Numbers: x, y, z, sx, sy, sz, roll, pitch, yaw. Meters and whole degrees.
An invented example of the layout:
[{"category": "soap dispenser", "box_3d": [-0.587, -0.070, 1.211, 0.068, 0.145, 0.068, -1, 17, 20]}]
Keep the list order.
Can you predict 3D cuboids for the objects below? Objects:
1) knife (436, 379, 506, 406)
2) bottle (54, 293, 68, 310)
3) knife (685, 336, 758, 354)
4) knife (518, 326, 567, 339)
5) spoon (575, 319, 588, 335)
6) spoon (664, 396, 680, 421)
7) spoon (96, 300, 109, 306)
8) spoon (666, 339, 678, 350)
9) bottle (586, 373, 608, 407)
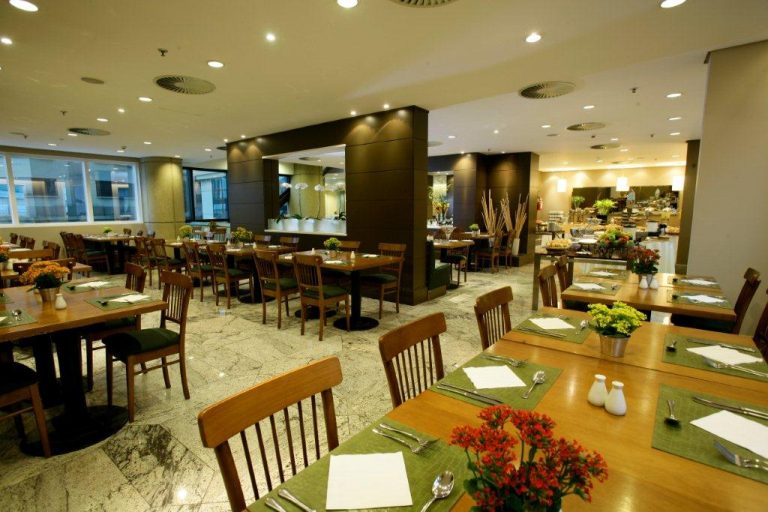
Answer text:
[{"category": "knife", "box_3d": [0.508, 0.855, 2.890, 0.483, 0.021, 0.123, 7, 16, 29]}, {"category": "bottle", "box_3d": [-2.717, 0.401, 3.984, 0.130, 0.127, 0.124, -4, -7, -27]}, {"category": "knife", "box_3d": [2.355, 0.630, 3.287, 0.454, 0.059, 0.156, 0, 7, 12]}, {"category": "knife", "box_3d": [1.171, 0.572, 3.445, 0.409, 0.028, 0.095, 7, 21, 34]}, {"category": "spoon", "box_3d": [1.486, 0.535, 3.510, 0.048, 0.041, 0.165, 6, 11, 38]}, {"category": "spoon", "box_3d": [1.707, 0.912, 2.759, 0.067, 0.063, 0.116, 2, 36, 37]}, {"category": "spoon", "box_3d": [-2.416, 0.409, 4.015, 0.165, 0.031, 0.068, 5, 9, 39]}, {"category": "spoon", "box_3d": [2.010, 0.633, 3.262, 0.042, 0.044, 0.137, 1, 1, 39]}, {"category": "bottle", "box_3d": [1.305, 0.811, 2.851, 0.111, 0.186, 0.152, 2, 9, 23]}]
